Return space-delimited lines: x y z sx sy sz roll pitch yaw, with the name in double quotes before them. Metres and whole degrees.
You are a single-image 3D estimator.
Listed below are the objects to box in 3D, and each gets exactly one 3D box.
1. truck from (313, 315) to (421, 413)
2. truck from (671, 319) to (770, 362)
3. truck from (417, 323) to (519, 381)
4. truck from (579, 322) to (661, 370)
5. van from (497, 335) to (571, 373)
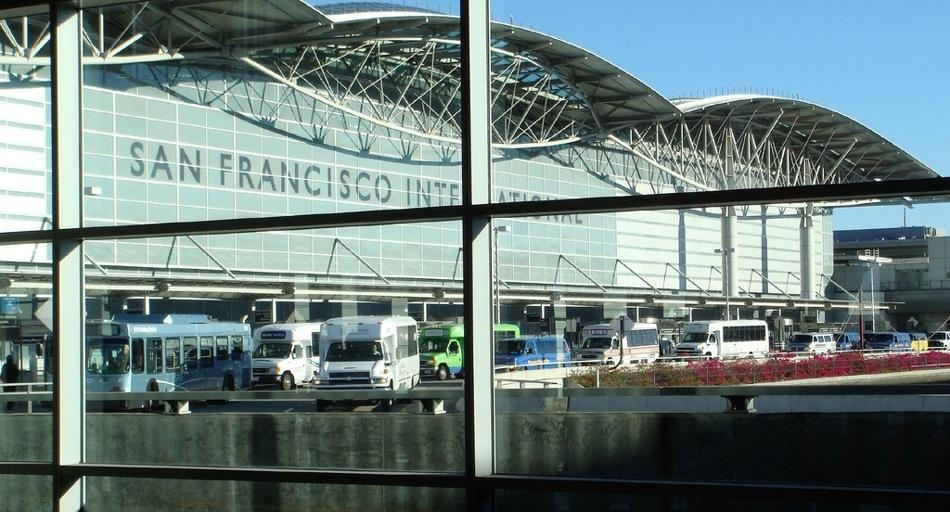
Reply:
"truck" -5.767 5.295 78.851 4.105 4.015 10.676 0 -2 3
"truck" 14.797 4.970 85.206 8.375 3.061 3.318 3 0 -29
"truck" -0.869 5.833 88.761 3.258 2.863 7.328 -4 -7 36
"truck" 9.038 5.839 88.973 3.465 3.215 7.733 -1 -1 44
"van" 3.492 6.177 91.470 3.510 2.728 6.995 -2 0 -22
